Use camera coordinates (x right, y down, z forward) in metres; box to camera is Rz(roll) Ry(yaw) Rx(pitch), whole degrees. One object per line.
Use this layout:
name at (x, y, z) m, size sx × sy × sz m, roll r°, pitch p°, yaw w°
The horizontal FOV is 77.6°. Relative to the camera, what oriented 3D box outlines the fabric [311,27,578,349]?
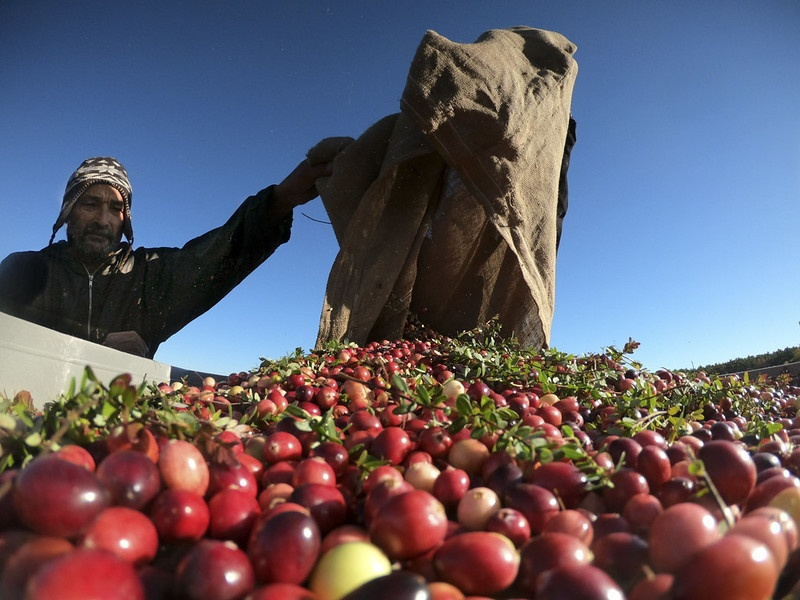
fabric at (0.199, -0.769, 3.836) m, size 1.755 × 2.582 × 0.877 m, roll -12°, pitch 32°, yaw -22°
